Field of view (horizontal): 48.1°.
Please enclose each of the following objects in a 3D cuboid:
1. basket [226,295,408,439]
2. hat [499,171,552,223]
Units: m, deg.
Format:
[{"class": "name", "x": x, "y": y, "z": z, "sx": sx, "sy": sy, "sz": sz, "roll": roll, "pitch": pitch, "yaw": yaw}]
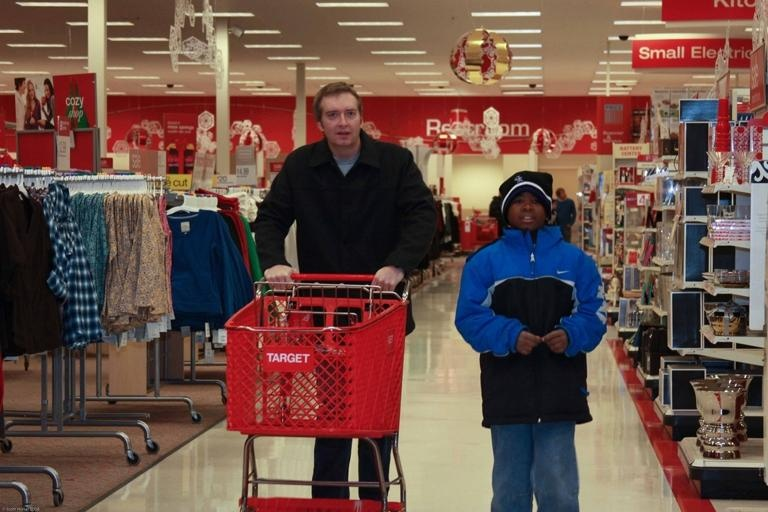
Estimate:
[{"class": "basket", "x": -0.309, "y": 0.547, "z": 4.626, "sx": 0.673, "sy": 0.699, "sz": 0.941, "roll": -1, "pitch": -4, "yaw": 17}, {"class": "hat", "x": 0.839, "y": -0.371, "z": 5.021, "sx": 0.240, "sy": 0.259, "sz": 0.317, "roll": -1, "pitch": -26, "yaw": 8}]
